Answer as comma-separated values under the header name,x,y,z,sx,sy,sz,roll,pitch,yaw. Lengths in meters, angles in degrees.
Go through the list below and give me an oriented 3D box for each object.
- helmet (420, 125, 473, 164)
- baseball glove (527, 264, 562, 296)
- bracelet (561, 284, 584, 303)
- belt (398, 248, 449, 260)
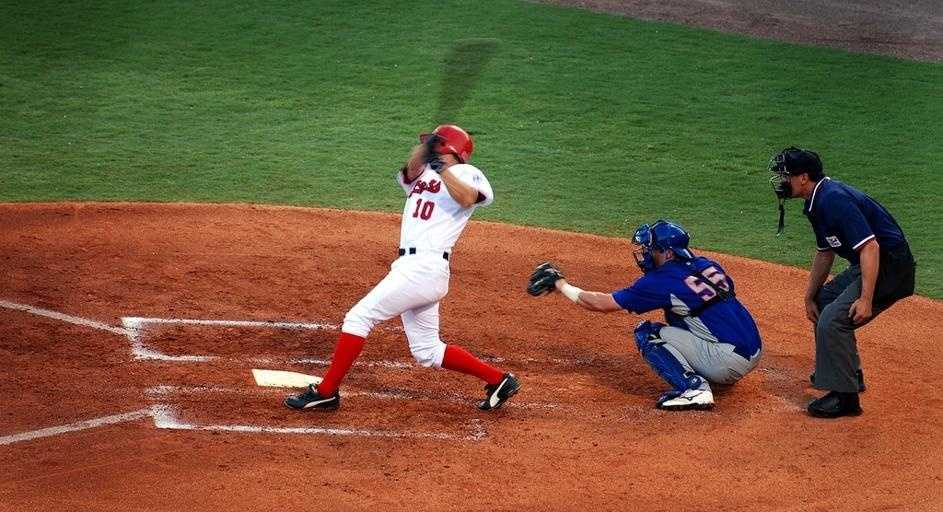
name,x,y,z,sx,sy,sz,roll,pitch,yaw
helmet,-0.273,-1.472,15.016,0.829,0.394,0.493,11,15,-18
baseball glove,1.005,0.303,15.258,0.341,0.249,0.540,48,29,-2
bracelet,1.340,0.496,15.183,0.294,0.261,0.197,17,29,2
belt,-0.587,-0.018,14.892,0.638,0.175,0.139,8,29,-3
